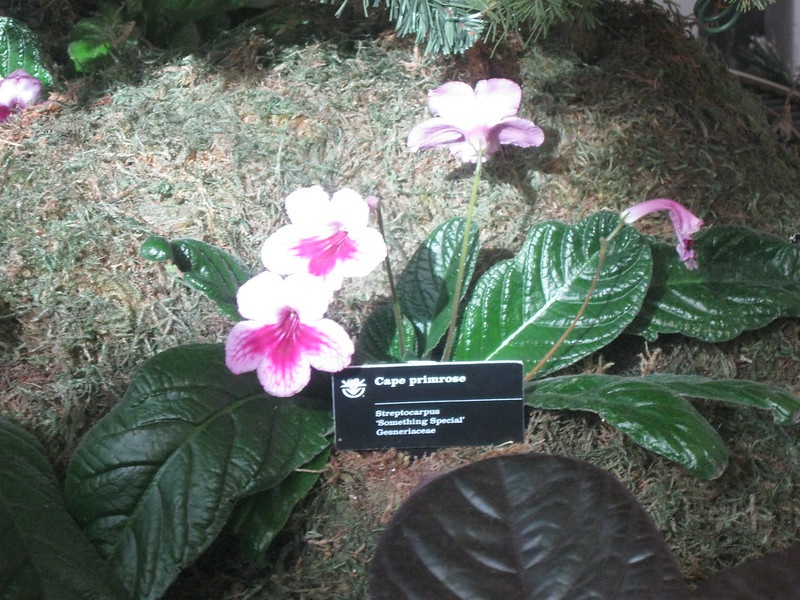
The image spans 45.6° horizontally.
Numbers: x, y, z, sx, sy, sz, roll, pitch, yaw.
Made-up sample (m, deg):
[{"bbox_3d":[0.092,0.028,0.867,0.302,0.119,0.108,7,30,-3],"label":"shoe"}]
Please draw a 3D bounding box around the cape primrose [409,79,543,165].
[{"bbox_3d":[0.172,-0.403,2.158,0.239,0.232,0.094,35,36,-17],"label":"cape primrose"}]

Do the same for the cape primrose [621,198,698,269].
[{"bbox_3d":[0.611,-0.151,2.184,0.203,0.163,0.060,-2,19,42],"label":"cape primrose"}]
